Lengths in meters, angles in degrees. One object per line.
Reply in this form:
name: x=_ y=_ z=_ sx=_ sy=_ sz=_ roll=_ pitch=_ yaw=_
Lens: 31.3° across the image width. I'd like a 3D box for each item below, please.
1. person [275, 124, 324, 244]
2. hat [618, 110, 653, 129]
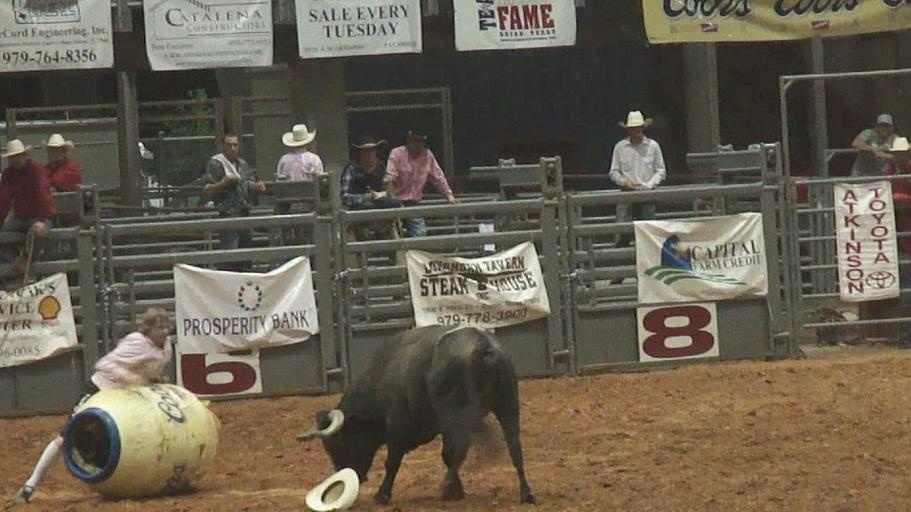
person: x=-3.489 y=-1.537 z=35.842 sx=0.749 sy=2.339 sz=0.782 roll=3 pitch=4 yaw=8
hat: x=4.239 y=-3.201 z=38.053 sx=0.688 sy=0.363 sz=0.871 roll=-4 pitch=-7 yaw=3
